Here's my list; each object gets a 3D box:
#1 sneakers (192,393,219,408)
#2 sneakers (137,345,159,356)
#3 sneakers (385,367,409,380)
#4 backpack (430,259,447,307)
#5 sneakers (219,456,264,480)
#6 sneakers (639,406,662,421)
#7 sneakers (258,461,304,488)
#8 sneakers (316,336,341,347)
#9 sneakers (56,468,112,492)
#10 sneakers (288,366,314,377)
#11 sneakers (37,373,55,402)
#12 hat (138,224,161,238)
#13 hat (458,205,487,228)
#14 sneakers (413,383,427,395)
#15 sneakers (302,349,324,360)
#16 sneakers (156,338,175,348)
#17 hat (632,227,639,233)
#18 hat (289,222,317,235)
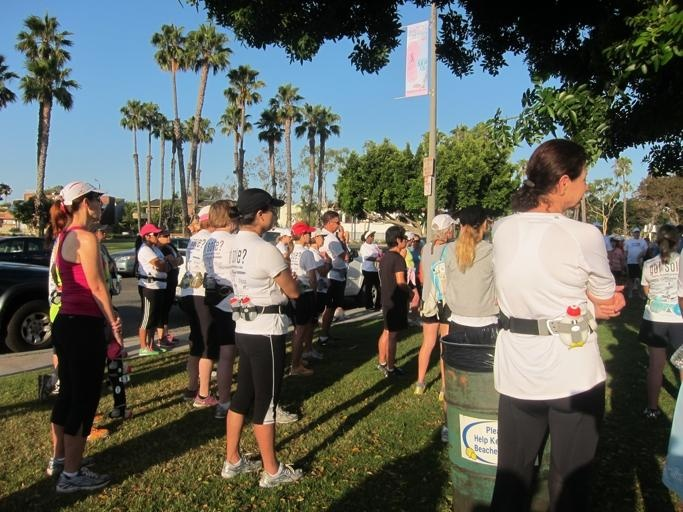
[{"bbox_3d":[-1.702,1.811,6.333,0.354,0.191,0.139,1,1,-18],"label":"sneakers"},{"bbox_3d":[-3.294,1.600,8.560,0.320,0.166,0.149,1,0,-9],"label":"sneakers"},{"bbox_3d":[0.839,1.737,7.528,0.337,0.171,0.132,-2,-2,-14],"label":"sneakers"},{"bbox_3d":[1.173,0.313,6.070,0.275,0.456,0.143,8,10,28],"label":"backpack"},{"bbox_3d":[-0.950,1.986,4.808,0.404,0.213,0.153,-1,1,-30],"label":"sneakers"},{"bbox_3d":[3.676,1.855,5.943,0.109,0.088,0.215,-14,-13,7],"label":"sneakers"},{"bbox_3d":[-0.558,2.021,4.709,0.424,0.222,0.165,-1,-2,-35],"label":"sneakers"},{"bbox_3d":[-0.238,1.624,9.593,0.477,0.241,0.168,-2,4,-19],"label":"sneakers"},{"bbox_3d":[-2.352,2.026,4.642,0.469,0.250,0.188,0,0,-24],"label":"sneakers"},{"bbox_3d":[-0.614,1.720,7.598,0.309,0.148,0.161,0,1,-9],"label":"sneakers"},{"bbox_3d":[-3.572,1.592,6.071,0.162,0.450,0.152,-4,14,-13],"label":"sneakers"},{"bbox_3d":[-3.314,-0.438,8.580,0.363,0.242,0.277,-17,10,-12],"label":"hat"},{"bbox_3d":[1.401,-0.424,5.355,0.185,0.277,0.261,1,10,18],"label":"hat"},{"bbox_3d":[1.046,1.771,6.769,0.076,0.106,0.228,1,5,16],"label":"sneakers"},{"bbox_3d":[-0.489,1.663,8.538,0.289,0.144,0.144,0,0,-11],"label":"sneakers"},{"bbox_3d":[-3.221,1.567,9.097,0.345,0.176,0.129,-2,0,5],"label":"sneakers"},{"bbox_3d":[10.027,-0.870,17.089,0.223,0.151,0.348,3,2,7],"label":"hat"},{"bbox_3d":[-0.623,-0.431,7.989,0.287,0.173,0.190,-7,12,-39],"label":"hat"}]
